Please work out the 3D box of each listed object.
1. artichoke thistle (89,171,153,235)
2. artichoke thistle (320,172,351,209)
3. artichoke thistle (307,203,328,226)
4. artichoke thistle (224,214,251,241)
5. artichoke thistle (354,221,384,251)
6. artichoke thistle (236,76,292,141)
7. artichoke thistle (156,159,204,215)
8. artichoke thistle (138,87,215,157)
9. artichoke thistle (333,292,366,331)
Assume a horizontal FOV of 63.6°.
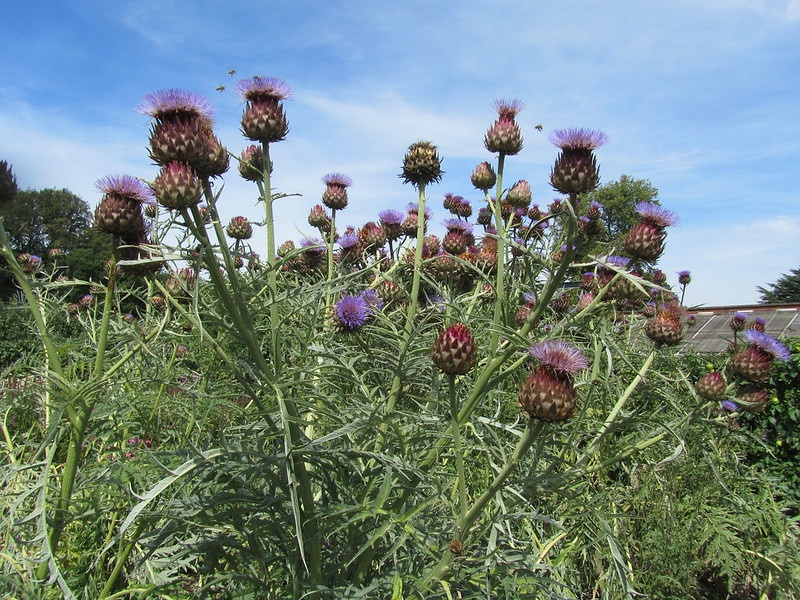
[{"bbox_3d":[-1.639,-0.536,3.787,0.239,0.329,0.239,10,-2,4],"label":"artichoke thistle"},{"bbox_3d":[-0.561,-0.947,5.614,0.238,0.296,0.216,4,-2,-38],"label":"artichoke thistle"},{"bbox_3d":[-0.793,-0.817,6.314,0.181,0.230,0.319,0,12,-21],"label":"artichoke thistle"},{"bbox_3d":[-1.571,-0.709,6.322,0.213,0.263,0.711,2,12,-15],"label":"artichoke thistle"},{"bbox_3d":[-0.284,-0.603,6.269,0.223,0.303,0.591,2,12,-11],"label":"artichoke thistle"},{"bbox_3d":[-0.862,-1.162,4.044,0.293,0.414,0.306,3,1,18],"label":"artichoke thistle"},{"bbox_3d":[-1.157,-0.592,3.349,0.246,0.247,0.240,0,12,-22],"label":"artichoke thistle"},{"bbox_3d":[-1.177,-0.917,3.536,0.306,0.418,0.298,-13,7,-20],"label":"artichoke thistle"},{"bbox_3d":[-0.341,0.095,4.502,0.238,0.238,0.244,4,11,-7],"label":"artichoke thistle"}]
